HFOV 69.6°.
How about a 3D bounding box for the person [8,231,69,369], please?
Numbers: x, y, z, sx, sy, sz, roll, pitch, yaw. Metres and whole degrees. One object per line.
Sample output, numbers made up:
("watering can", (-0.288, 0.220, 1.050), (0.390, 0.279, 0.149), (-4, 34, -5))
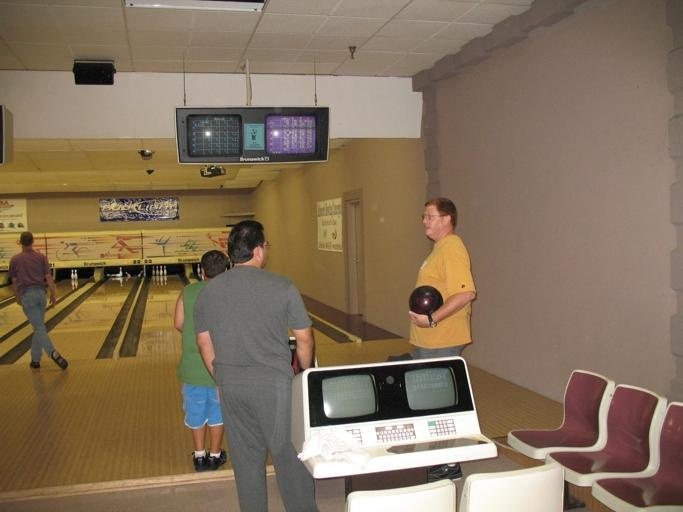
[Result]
("person", (-3.741, 0.537, 6.054), (0.527, 1.661, 1.126), (-4, 4, -34))

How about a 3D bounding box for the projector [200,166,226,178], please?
("projector", (-2.486, -1.625, 9.462), (0.531, 0.209, 0.401), (-1, 5, -14))

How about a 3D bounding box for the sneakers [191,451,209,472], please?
("sneakers", (-1.002, 1.441, 3.442), (0.062, 0.079, 0.168), (0, 1, -8))

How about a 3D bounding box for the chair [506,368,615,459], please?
("chair", (1.266, 0.921, 2.878), (0.470, 0.435, 0.369), (2, -1, -13))

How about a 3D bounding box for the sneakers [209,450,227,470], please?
("sneakers", (-0.881, 1.449, 3.490), (0.058, 0.069, 0.157), (2, 10, 5))

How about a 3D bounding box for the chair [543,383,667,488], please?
("chair", (1.401, 0.949, 2.621), (0.455, 0.411, 0.339), (-5, 1, -10))

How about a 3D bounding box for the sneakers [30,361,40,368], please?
("sneakers", (-3.690, 1.316, 5.940), (0.069, 0.040, 0.114), (-1, 0, -40))

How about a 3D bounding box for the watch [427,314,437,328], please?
("watch", (0.548, 0.404, 2.999), (0.044, 0.077, 0.068), (1, 3, 16))

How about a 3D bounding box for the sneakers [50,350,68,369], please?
("sneakers", (-3.418, 1.259, 5.931), (0.094, 0.229, 0.103), (-2, 30, 25))
